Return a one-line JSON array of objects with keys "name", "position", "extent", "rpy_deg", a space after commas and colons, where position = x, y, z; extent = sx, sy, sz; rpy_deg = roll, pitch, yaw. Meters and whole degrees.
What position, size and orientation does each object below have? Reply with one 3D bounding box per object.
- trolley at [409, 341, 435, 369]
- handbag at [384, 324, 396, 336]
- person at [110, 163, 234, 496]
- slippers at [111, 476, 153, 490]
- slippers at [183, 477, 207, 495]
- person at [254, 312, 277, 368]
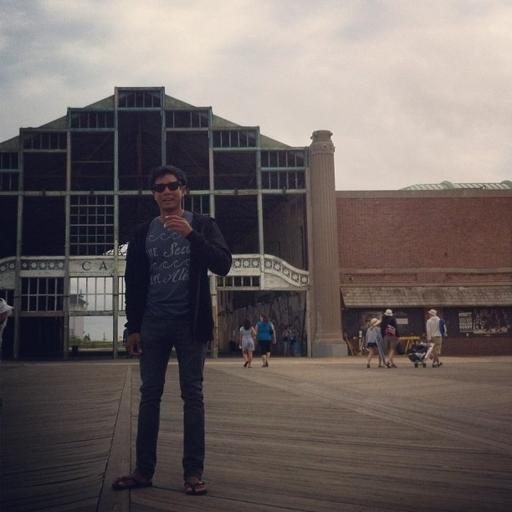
[{"name": "trolley", "position": [4.841, 2.931, 19.613], "extent": [0.623, 0.811, 1.366], "rpy_deg": [-6, -11, 15]}, {"name": "handbag", "position": [4.019, 2.255, 20.000], "extent": [0.241, 0.365, 0.105], "rpy_deg": [18, 4, -1]}, {"name": "person", "position": [-0.565, 0.421, 4.490], "extent": [0.744, 2.171, 0.602], "rpy_deg": [-1, -6, 5]}, {"name": "slippers", "position": [-0.792, 1.454, 4.243], "extent": [0.216, 0.088, 0.091], "rpy_deg": [8, -10, -16]}, {"name": "slippers", "position": [-0.375, 1.426, 4.126], "extent": [0.135, 0.091, 0.150], "rpy_deg": [0, -7, -8]}, {"name": "person", "position": [0.284, 2.584, 20.900], "extent": [0.519, 1.708, 0.600], "rpy_deg": [0, -6, -25]}]
